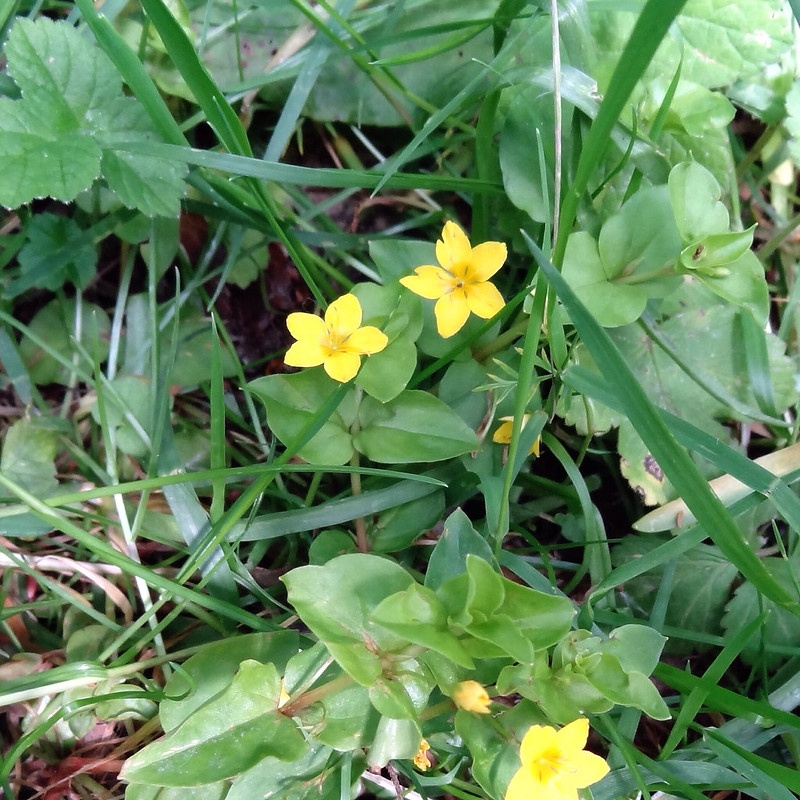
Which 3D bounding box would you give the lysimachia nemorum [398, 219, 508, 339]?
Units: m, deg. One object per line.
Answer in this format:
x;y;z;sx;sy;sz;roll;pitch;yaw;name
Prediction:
0.076;-0.147;0.942;0.111;0.075;0.120;33;64;11;lysimachia nemorum

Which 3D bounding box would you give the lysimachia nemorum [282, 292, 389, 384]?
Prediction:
-0.078;-0.062;0.868;0.106;0.061;0.099;-31;70;-21;lysimachia nemorum

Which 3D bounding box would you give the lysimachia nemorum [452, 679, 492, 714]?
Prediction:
0.071;0.297;0.767;0.038;0.030;0.014;38;21;16;lysimachia nemorum
